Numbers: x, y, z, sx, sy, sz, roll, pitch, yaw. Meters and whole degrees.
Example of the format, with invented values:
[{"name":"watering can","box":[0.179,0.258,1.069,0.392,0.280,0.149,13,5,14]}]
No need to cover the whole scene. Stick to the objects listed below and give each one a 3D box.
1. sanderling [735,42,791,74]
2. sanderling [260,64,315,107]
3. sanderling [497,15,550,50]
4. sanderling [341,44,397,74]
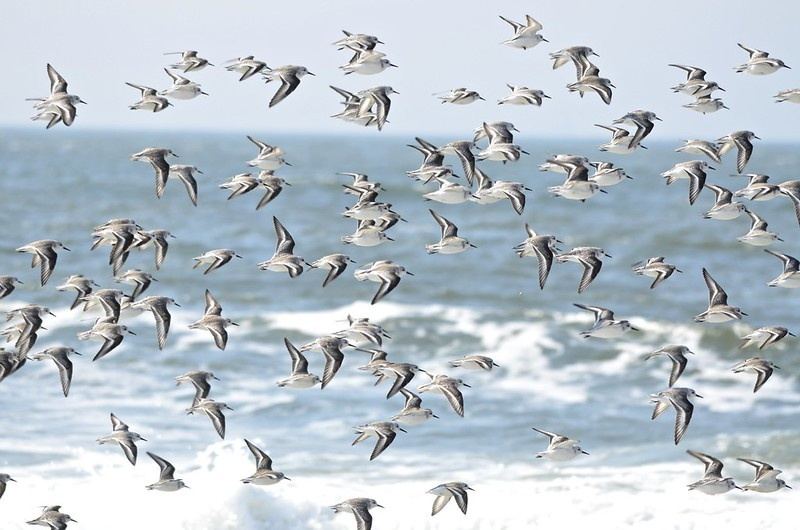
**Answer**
[{"name":"sanderling","box":[6.696,-3.882,21.674,0.751,0.505,1.486,-3,4,15]},{"name":"sanderling","box":[-2.092,-3.302,21.110,0.700,0.797,1.724,-5,4,-3]},{"name":"sanderling","box":[2.313,-4.441,22.033,0.663,0.692,1.145,-4,4,5]},{"name":"sanderling","box":[-0.657,-3.832,21.689,0.765,0.563,1.132,-4,4,0]}]
